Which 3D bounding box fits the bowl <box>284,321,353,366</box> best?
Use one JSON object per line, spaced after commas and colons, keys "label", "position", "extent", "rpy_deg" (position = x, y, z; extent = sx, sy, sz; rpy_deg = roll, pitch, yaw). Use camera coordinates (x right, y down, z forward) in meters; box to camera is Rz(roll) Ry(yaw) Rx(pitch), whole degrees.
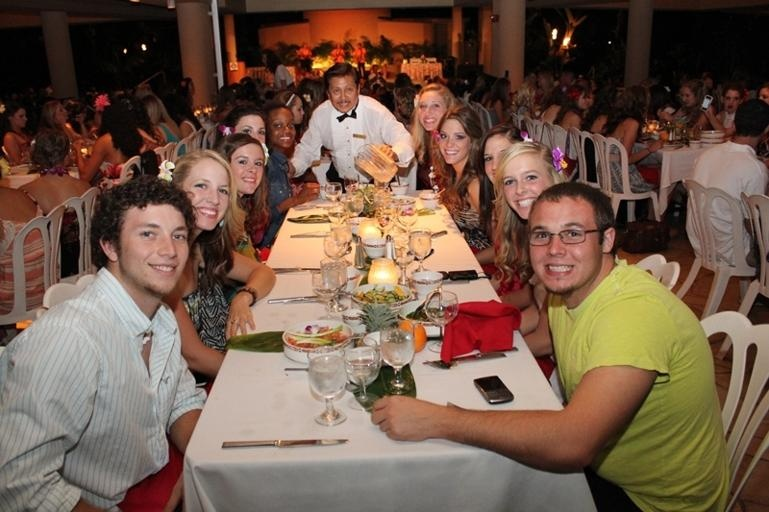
{"label": "bowl", "position": [-0.295, 0.362, 2.030], "extent": [0.252, 0.088, 0.257], "rpy_deg": [-16, 14, 4]}

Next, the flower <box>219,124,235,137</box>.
{"label": "flower", "position": [-1.200, -0.949, 3.619], "extent": [0.093, 0.066, 0.134], "rpy_deg": [-4, 15, -12]}

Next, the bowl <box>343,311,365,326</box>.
{"label": "bowl", "position": [-0.139, 0.269, 2.110], "extent": [0.061, 0.044, 0.060], "rpy_deg": [3, 11, -1]}

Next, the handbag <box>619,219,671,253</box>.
{"label": "handbag", "position": [3.047, -0.209, 5.714], "extent": [0.530, 0.367, 0.381], "rpy_deg": [-4, 24, -7]}

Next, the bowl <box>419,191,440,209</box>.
{"label": "bowl", "position": [0.375, -0.472, 4.123], "extent": [0.152, 0.106, 0.154], "rpy_deg": [-2, 13, 0]}

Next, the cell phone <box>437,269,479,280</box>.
{"label": "cell phone", "position": [0.417, 0.104, 2.622], "extent": [0.149, 0.036, 0.086], "rpy_deg": [2, 15, -5]}

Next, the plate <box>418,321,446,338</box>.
{"label": "plate", "position": [0.212, 0.326, 2.124], "extent": [0.074, 0.055, 0.075], "rpy_deg": [0, 7, 2]}
